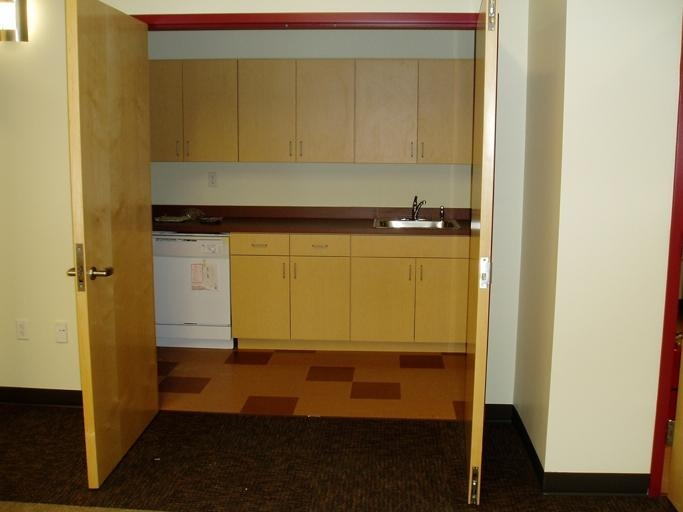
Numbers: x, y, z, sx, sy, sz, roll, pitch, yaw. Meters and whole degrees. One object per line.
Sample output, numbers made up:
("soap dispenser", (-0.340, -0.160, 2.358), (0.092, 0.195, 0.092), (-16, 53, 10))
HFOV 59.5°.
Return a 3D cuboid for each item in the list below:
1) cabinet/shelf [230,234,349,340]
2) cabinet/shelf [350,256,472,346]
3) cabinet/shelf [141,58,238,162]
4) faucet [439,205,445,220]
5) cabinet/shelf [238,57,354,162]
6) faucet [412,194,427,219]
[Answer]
("cabinet/shelf", (-0.319, 0.190, 5.088), (1.257, 1.222, 0.724), (0, 8, 3))
("cabinet/shelf", (0.504, 0.345, 4.729), (0.998, 0.804, 0.606), (0, 2, 3))
("cabinet/shelf", (-1.350, -1.230, 5.271), (0.864, 0.935, 0.320), (-1, -1, 1))
("faucet", (0.880, -0.377, 5.259), (0.048, 0.119, 0.185), (0, 9, 9))
("cabinet/shelf", (-0.397, -1.214, 5.223), (0.994, 0.910, 0.377), (0, -11, -4))
("faucet", (0.672, -0.422, 5.250), (0.119, 0.205, 0.293), (-1, 9, 8))
